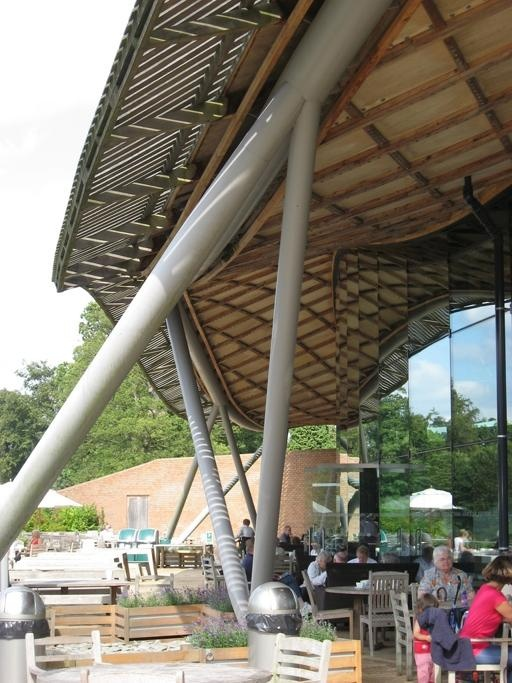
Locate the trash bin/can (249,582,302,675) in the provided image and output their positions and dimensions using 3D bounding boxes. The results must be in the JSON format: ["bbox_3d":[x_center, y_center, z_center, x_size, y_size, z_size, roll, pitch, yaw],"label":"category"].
[{"bbox_3d":[0.186,2.622,6.156,0.510,0.739,0.444,-2,-7,-3],"label":"trash bin/can"}]
